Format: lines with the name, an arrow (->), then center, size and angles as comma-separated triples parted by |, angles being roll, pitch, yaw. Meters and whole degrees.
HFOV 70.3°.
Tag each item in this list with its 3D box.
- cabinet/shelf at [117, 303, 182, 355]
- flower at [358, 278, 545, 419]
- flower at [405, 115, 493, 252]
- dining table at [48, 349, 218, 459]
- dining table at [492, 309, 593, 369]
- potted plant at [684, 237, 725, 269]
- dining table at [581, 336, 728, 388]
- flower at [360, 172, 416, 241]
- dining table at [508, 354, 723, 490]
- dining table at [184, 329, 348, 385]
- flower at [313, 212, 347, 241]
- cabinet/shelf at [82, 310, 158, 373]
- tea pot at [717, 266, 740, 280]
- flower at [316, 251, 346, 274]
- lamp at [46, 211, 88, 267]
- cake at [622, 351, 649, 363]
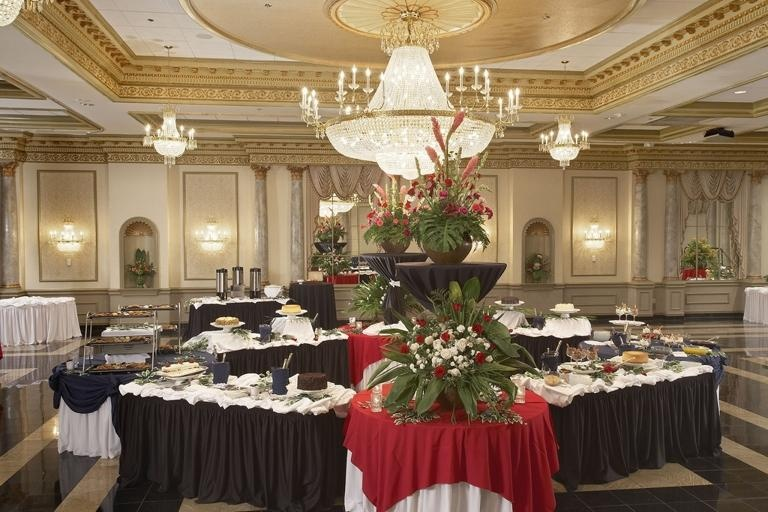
cabinet/shelf -> -3.650, 1.138, 8.464 | 0.920, 0.801, 0.683 | 1, 19, -1
flower -> 0.469, 0.791, 4.900 | 1.343, 0.878, 1.323 | -4, 2, -41
flower -> 0.629, -0.558, 4.816 | 0.775, 1.181, 0.814 | -5, 7, -8
dining table -> -3.442, 1.812, 6.539 | 1.128, 0.858, 1.173 | 0, -2, -8
dining table -> 2.844, 1.475, 9.079 | 1.620, 0.356, 1.479 | 2, 0, -8
potted plant -> 9.669, 0.012, 16.369 | 1.223, 0.969, 1.052 | -2, 1, -4
dining table -> 3.209, 1.292, 6.628 | 1.189, 0.281, 1.149 | -1, -4, -1
flower -> 0.120, -0.516, 6.175 | 0.588, 0.601, 0.526 | -12, 6, 0
dining table -> 2.838, 1.883, 6.313 | 1.907, 0.688, 1.143 | -3, 0, -17
dining table -> -1.294, 1.432, 7.667 | 1.298, 0.462, 1.242 | 0, -4, -6
flower -> -1.379, -0.764, 14.315 | 0.761, 0.497, 0.728 | 1, 0, 13
cabinet/shelf -> -3.478, 1.037, 7.118 | 0.693, 0.469, 0.462 | -6, -32, 17
tea pot -> 10.205, 0.513, 16.134 | 0.472, 0.340, 0.408 | -2, 1, 30
flower -> -1.356, 0.175, 13.978 | 0.606, 0.399, 0.605 | 1, 2, -36
lamp -> -8.208, -0.275, 14.161 | 0.860, 1.126, 0.803 | -9, -12, 14
cake -> 2.903, 1.177, 6.287 | 0.168, 0.056, 0.170 | -2, -1, 38
